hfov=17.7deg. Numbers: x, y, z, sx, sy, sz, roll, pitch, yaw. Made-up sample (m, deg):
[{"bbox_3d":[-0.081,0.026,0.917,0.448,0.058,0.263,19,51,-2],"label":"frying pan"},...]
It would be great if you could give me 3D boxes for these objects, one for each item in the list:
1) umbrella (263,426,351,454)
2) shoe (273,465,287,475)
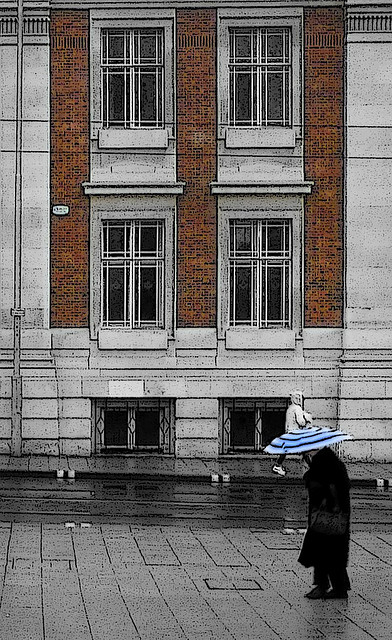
[{"bbox_3d":[0.972,1.096,11.096,0.510,0.255,0.885,0,0,-31],"label":"umbrella"},{"bbox_3d":[0.905,1.625,13.507,0.064,0.118,0.193,2,4,-36],"label":"shoe"}]
